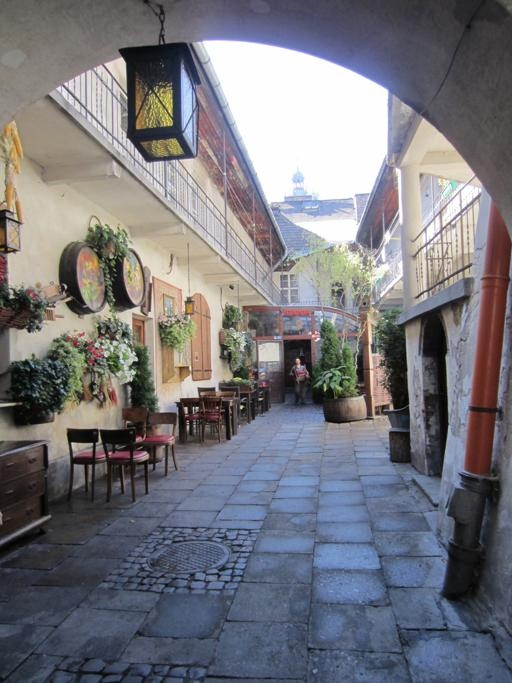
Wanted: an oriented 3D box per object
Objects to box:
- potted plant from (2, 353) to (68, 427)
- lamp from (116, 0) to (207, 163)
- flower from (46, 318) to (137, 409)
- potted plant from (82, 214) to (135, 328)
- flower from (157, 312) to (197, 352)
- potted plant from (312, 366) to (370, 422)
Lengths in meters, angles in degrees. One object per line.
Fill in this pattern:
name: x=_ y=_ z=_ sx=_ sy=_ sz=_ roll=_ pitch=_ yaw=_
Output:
potted plant: x=-2.258 y=0.407 z=4.864 sx=0.529 sy=0.882 sz=0.827 roll=0 pitch=2 yaw=15
lamp: x=-0.537 y=-1.342 z=2.521 sx=0.433 sy=0.562 sz=0.401 roll=-1 pitch=-4 yaw=-7
flower: x=-2.292 y=0.237 z=6.162 sx=0.921 sy=0.900 sz=1.147 roll=7 pitch=5 yaw=19
potted plant: x=-2.186 y=-1.082 z=6.518 sx=0.312 sy=1.305 sz=0.867 roll=-2 pitch=-4 yaw=13
flower: x=-1.674 y=-0.231 z=9.349 sx=0.582 sy=0.614 sz=0.882 roll=5 pitch=11 yaw=11
potted plant: x=2.233 y=1.458 z=11.585 sx=1.011 sy=1.497 sz=1.400 roll=-2 pitch=-18 yaw=3
